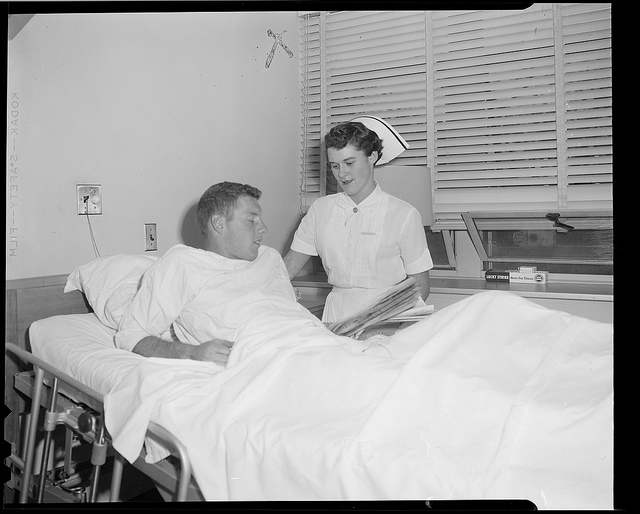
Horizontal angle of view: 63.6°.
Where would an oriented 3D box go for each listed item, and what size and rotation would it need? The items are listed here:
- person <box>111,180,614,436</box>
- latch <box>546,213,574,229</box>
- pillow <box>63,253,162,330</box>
[{"bbox_3d":[0.109,0.247,1.574,1.145,0.493,0.825,8,8,21],"label":"person"},{"bbox_3d":[1.274,-0.199,2.727,0.097,0.033,0.076,19,-21,16],"label":"latch"},{"bbox_3d":[-0.814,0.090,2.002,0.307,0.094,0.296,34,39,11],"label":"pillow"}]
